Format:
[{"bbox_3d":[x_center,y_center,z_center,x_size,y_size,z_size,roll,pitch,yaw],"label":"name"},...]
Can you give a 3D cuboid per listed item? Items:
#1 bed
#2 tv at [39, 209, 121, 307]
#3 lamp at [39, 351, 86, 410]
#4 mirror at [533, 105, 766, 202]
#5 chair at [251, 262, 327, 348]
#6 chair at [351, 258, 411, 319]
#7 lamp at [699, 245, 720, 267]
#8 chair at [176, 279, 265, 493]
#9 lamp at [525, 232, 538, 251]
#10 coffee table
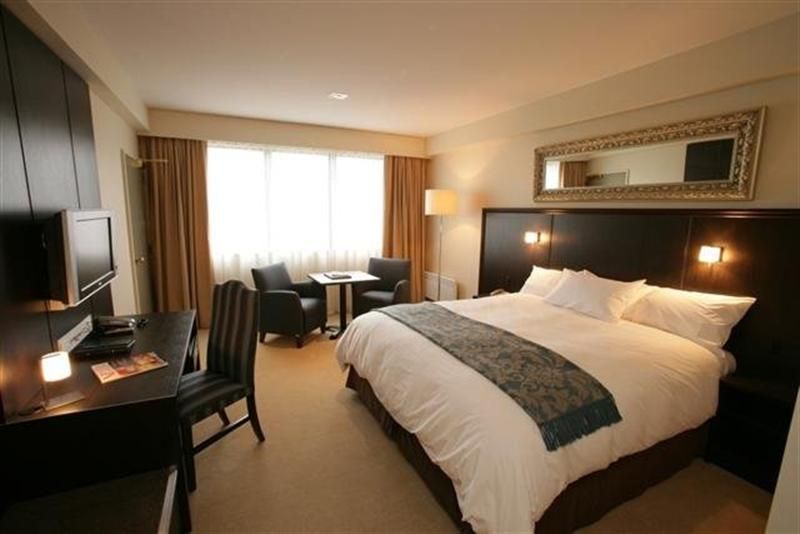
[{"bbox_3d":[1.246,0.930,3.942,2.198,0.980,2.181,-1,5,-21],"label":"bed"},{"bbox_3d":[-2.509,-0.142,3.854,0.266,0.646,0.738,2,12,-8],"label":"tv"},{"bbox_3d":[-2.319,0.735,3.348,0.235,0.391,0.338,-6,11,-44],"label":"lamp"},{"bbox_3d":[2.281,-1.020,5.008,0.075,0.776,2.262,3,2,-37],"label":"mirror"},{"bbox_3d":[-1.374,0.434,6.185,0.737,0.905,0.713,3,10,15],"label":"chair"},{"bbox_3d":[-0.251,0.331,6.748,0.701,0.926,0.575,4,4,14],"label":"chair"},{"bbox_3d":[2.730,-0.096,4.340,0.129,0.237,0.131,13,-9,4],"label":"lamp"},{"bbox_3d":[-1.635,0.886,4.072,0.770,1.449,0.795,10,16,37],"label":"chair"},{"bbox_3d":[1.541,-0.314,5.799,0.068,0.229,0.220,-2,9,-26],"label":"lamp"},{"bbox_3d":[-0.787,0.461,6.461,0.888,0.833,0.876,-3,7,-25],"label":"coffee table"}]
